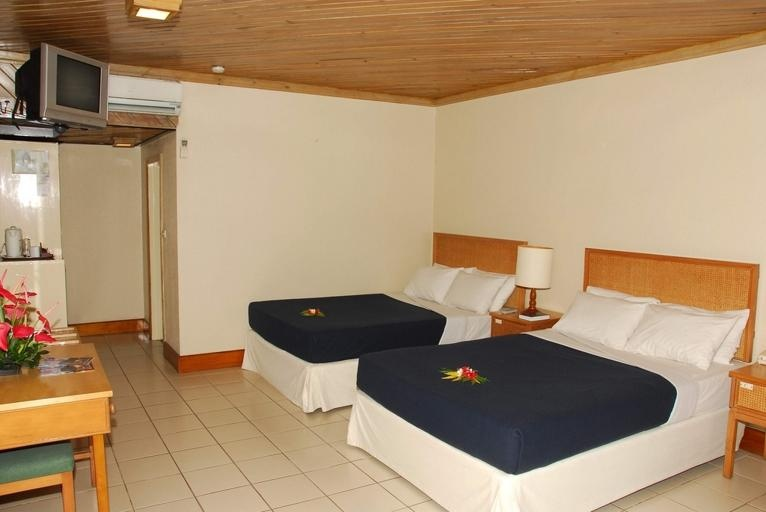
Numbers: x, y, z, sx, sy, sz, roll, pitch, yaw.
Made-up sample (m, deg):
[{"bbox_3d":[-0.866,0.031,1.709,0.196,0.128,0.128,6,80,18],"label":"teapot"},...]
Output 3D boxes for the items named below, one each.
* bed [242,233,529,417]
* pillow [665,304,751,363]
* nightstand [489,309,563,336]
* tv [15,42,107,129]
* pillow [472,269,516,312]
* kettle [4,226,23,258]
[{"bbox_3d":[0.021,0.781,6.471,2.830,1.647,2.130,-2,6,-30],"label":"bed"},{"bbox_3d":[3.198,0.740,4.692,0.506,0.481,0.136,8,-6,38],"label":"pillow"},{"bbox_3d":[1.687,0.776,5.980,0.444,0.408,0.423,-5,10,-32],"label":"nightstand"},{"bbox_3d":[-2.999,-1.456,4.768,0.796,0.709,0.784,4,5,29],"label":"tv"},{"bbox_3d":[1.401,0.428,6.218,0.459,0.413,0.134,16,-5,37],"label":"pillow"},{"bbox_3d":[-4.172,-0.154,5.697,0.180,0.327,0.331,-8,15,-35],"label":"kettle"}]
